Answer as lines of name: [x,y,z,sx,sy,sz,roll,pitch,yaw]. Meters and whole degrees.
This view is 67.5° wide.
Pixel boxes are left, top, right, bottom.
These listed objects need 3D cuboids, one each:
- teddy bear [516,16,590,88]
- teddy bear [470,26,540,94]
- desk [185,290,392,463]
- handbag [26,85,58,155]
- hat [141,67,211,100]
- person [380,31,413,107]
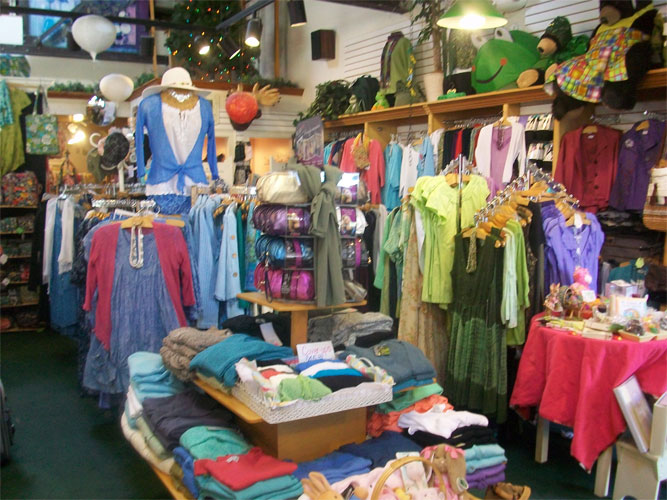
teddy bear: [2.110,-1.965,4.668,0.744,0.299,0.519,-44,34,-19]
teddy bear: [1.770,-1.927,5.209,0.727,0.635,0.579,-10,1,-31]
desk: [-0.234,0.535,2.783,0.794,0.867,0.884,-3,9,-22]
handbag: [-3.501,-1.523,6.002,0.369,0.830,0.121,-5,-8,-17]
hat: [-1.575,-1.628,4.922,0.458,0.194,0.405,-4,4,-27]
person: [0.782,-2.207,6.117,0.208,0.925,0.591,-4,9,-28]
